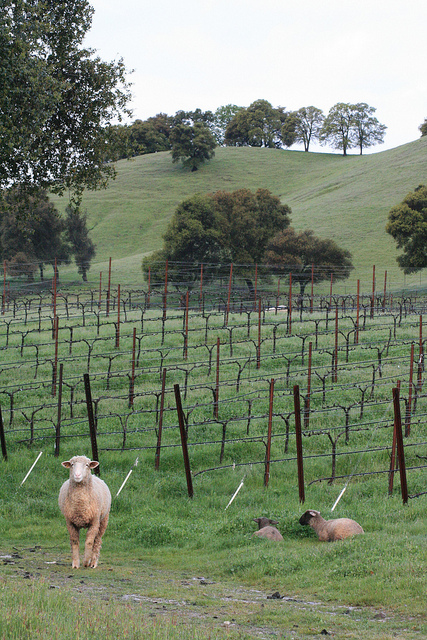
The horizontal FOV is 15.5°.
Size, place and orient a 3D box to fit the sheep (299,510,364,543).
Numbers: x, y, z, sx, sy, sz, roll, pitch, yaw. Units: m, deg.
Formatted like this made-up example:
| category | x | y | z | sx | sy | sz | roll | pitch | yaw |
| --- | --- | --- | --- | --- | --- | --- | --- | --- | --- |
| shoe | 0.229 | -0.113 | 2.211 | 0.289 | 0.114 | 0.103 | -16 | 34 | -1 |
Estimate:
| category | x | y | z | sx | sy | sz | roll | pitch | yaw |
| --- | --- | --- | --- | --- | --- | --- | --- | --- | --- |
| sheep | 2.836 | 4.980 | 38.075 | 1.626 | 0.654 | 0.577 | 5 | 7 | 42 |

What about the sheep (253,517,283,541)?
| category | x | y | z | sx | sy | sz | roll | pitch | yaw |
| --- | --- | --- | --- | --- | --- | --- | --- | --- | --- |
| sheep | 1.336 | 5.047 | 38.398 | 0.329 | 0.471 | 0.735 | 2 | 16 | -18 |

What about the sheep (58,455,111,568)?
| category | x | y | z | sx | sy | sz | roll | pitch | yaw |
| --- | --- | --- | --- | --- | --- | --- | --- | --- | --- |
| sheep | -2.936 | 4.384 | 36.494 | 1.056 | 2.548 | 0.718 | -3 | 6 | -31 |
